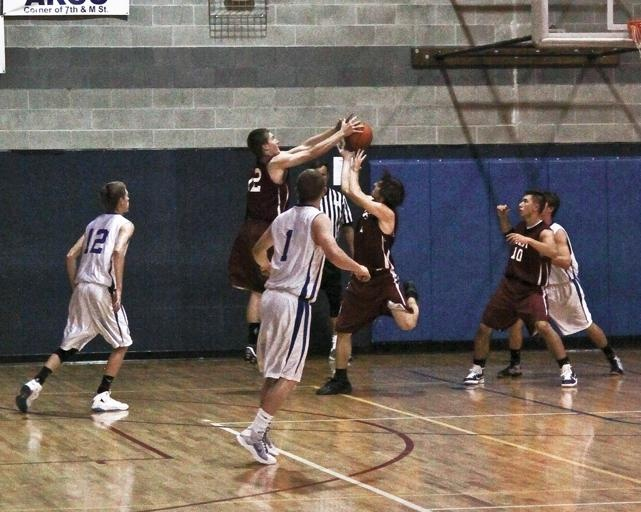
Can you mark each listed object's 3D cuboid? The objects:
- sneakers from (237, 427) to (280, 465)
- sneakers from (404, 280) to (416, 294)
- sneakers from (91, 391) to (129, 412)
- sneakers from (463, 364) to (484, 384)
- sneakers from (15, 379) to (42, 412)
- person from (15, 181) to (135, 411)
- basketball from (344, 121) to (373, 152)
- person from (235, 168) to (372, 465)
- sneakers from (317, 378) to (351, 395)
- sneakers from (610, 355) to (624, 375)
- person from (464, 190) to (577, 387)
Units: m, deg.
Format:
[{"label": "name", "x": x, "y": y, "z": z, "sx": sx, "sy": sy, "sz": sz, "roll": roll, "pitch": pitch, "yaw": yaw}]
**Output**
[{"label": "sneakers", "x": -0.436, "y": 1.307, "z": 6.408, "sx": 0.282, "sy": 0.267, "sz": 0.199, "roll": -1, "pitch": 4, "yaw": -10}, {"label": "sneakers", "x": 0.846, "y": 0.331, "z": 8.786, "sx": 0.059, "sy": 0.190, "sz": 0.116, "roll": -13, "pitch": 31, "yaw": 9}, {"label": "sneakers", "x": -1.830, "y": 1.263, "z": 8.043, "sx": 0.376, "sy": 0.222, "sz": 0.136, "roll": 3, "pitch": -1, "yaw": -17}, {"label": "sneakers", "x": 1.512, "y": 1.200, "z": 9.193, "sx": 0.114, "sy": 0.157, "sz": 0.309, "roll": -3, "pitch": -10, "yaw": 31}, {"label": "sneakers", "x": -2.455, "y": 1.185, "z": 7.822, "sx": 0.134, "sy": 0.280, "sz": 0.198, "roll": 35, "pitch": 9, "yaw": 7}, {"label": "person", "x": -2.039, "y": 0.354, "z": 7.977, "sx": 0.841, "sy": 1.963, "sz": 0.483, "roll": -1, "pitch": 4, "yaw": -13}, {"label": "basketball", "x": 0.340, "y": -1.075, "z": 8.383, "sx": 0.250, "sy": 0.238, "sz": 0.260, "roll": 0, "pitch": 4, "yaw": -1}, {"label": "person", "x": -0.198, "y": 0.407, "z": 6.524, "sx": 0.795, "sy": 2.041, "sz": 0.587, "roll": -1, "pitch": 4, "yaw": -6}, {"label": "sneakers", "x": 0.138, "y": 1.223, "z": 8.673, "sx": 0.331, "sy": 0.167, "sz": 0.125, "roll": 4, "pitch": -3, "yaw": -13}, {"label": "sneakers", "x": 3.124, "y": 1.154, "z": 9.770, "sx": 0.092, "sy": 0.115, "sz": 0.261, "roll": -1, "pitch": 9, "yaw": 6}, {"label": "person", "x": 1.960, "y": 0.320, "z": 9.034, "sx": 1.042, "sy": 1.904, "sz": 0.713, "roll": 1, "pitch": 4, "yaw": 15}]
